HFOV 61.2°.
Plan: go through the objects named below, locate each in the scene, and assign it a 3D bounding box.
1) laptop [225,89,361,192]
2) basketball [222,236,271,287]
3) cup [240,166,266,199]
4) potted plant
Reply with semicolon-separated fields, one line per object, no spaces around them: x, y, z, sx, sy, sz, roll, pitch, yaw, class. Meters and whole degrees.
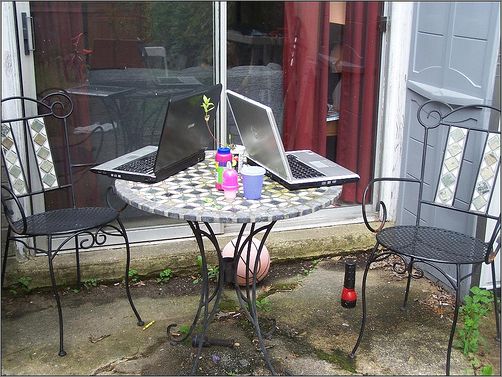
0.224;-0.309;2.442;0.557;0.448;0.638;-8;20;-20;laptop
0.002;0.504;3.081;0.364;0.381;0.345;-2;-2;-43;basketball
0.009;-0.041;2.225;0.144;0.152;0.148;0;13;0;cup
-0.194;-0.327;2.354;0.110;0.388;0.136;-24;12;-11;potted plant
